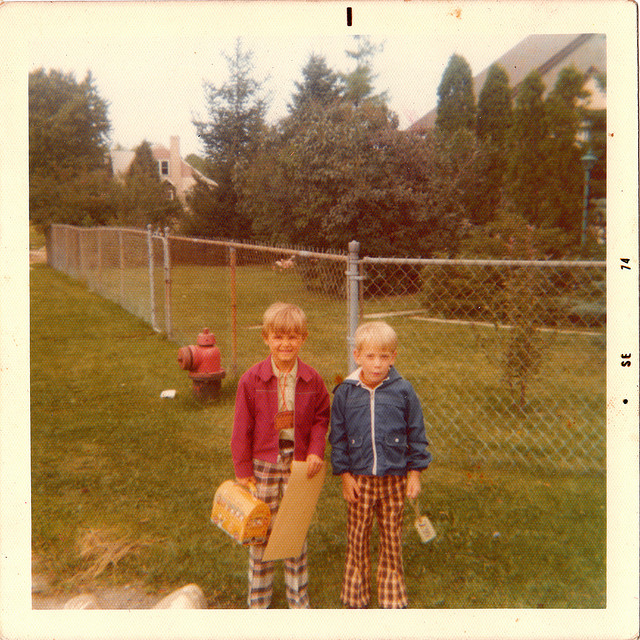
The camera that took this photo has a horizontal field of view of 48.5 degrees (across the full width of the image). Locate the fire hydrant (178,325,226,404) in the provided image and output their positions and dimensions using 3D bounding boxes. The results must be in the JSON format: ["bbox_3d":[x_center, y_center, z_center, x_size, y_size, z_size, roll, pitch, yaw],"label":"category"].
[{"bbox_3d":[-1.028,0.391,6.317,0.446,0.977,0.472,1,2,-7],"label":"fire hydrant"}]

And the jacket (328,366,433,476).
[{"bbox_3d":[0.278,0.477,3.317,0.469,0.490,0.214,0,9,0],"label":"jacket"}]

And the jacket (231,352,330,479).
[{"bbox_3d":[-0.178,0.443,3.268,0.445,0.513,0.219,0,9,-1],"label":"jacket"}]

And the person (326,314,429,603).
[{"bbox_3d":[0.288,0.687,3.417,0.359,1.532,0.308,2,19,12],"label":"person"}]

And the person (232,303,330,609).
[{"bbox_3d":[-0.194,0.676,3.364,0.488,1.491,0.471,-5,11,-30],"label":"person"}]

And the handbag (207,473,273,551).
[{"bbox_3d":[-0.367,0.914,3.309,0.182,0.416,0.324,10,8,-43],"label":"handbag"}]
